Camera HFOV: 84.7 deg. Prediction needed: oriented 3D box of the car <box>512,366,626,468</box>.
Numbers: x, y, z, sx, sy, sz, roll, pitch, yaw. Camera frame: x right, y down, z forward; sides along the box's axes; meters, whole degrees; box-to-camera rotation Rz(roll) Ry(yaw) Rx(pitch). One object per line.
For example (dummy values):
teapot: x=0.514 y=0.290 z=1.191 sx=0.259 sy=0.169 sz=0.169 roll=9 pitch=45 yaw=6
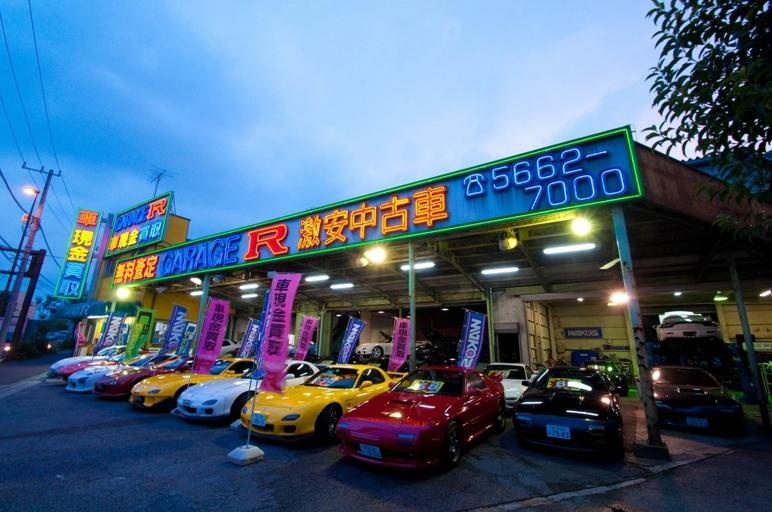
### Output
car: x=4.606 y=3.517 z=10.410 sx=2.208 sy=1.461 sz=4.223 roll=-3 pitch=-9 yaw=31

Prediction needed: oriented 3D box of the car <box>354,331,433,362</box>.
car: x=0.267 y=4.683 z=21.806 sx=3.592 sy=0.873 sz=1.614 roll=5 pitch=-18 yaw=-12

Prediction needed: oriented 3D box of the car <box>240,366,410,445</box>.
car: x=-1.422 y=3.351 z=9.812 sx=1.614 sy=0.823 sz=2.924 roll=-15 pitch=-18 yaw=38

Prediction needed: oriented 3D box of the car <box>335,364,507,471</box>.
car: x=0.848 y=3.368 z=8.915 sx=3.322 sy=1.606 sz=1.671 roll=2 pitch=-1 yaw=-44

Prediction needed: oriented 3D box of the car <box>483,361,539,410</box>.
car: x=3.299 y=3.481 z=11.199 sx=1.056 sy=0.700 sz=2.296 roll=-9 pitch=-21 yaw=27
